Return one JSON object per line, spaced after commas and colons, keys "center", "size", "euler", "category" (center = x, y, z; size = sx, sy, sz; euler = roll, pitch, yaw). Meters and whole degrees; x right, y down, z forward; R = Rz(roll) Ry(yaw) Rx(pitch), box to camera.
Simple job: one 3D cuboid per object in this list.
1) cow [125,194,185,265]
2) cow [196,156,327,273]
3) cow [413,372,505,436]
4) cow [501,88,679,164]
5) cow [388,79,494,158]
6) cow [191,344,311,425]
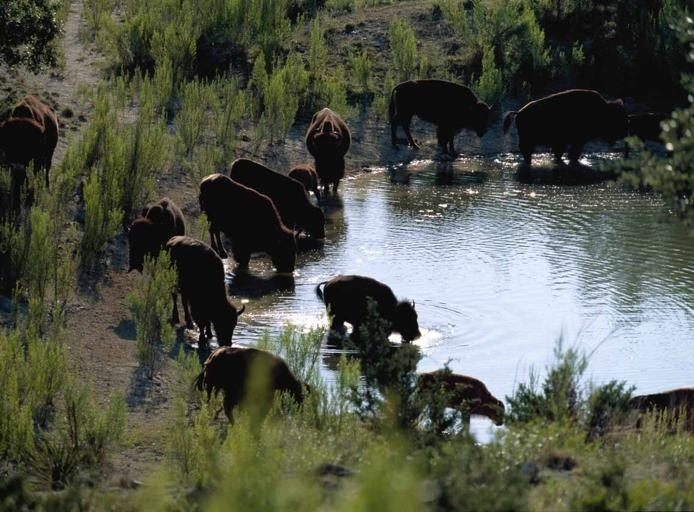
{"center": [-3.343, -0.362, 21.283], "size": [0.540, 1.177, 1.131], "euler": [2, 5, 25], "category": "cow"}
{"center": [-1.655, -0.816, 23.824], "size": [2.388, 2.073, 2.100], "euler": [-1, 5, -2], "category": "cow"}
{"center": [1.803, 2.122, 18.575], "size": [1.349, 1.015, 1.202], "euler": [-3, 6, -28], "category": "cow"}
{"center": [6.230, -3.390, 32.233], "size": [3.429, 1.936, 1.484], "euler": [1, 5, 9], "category": "cow"}
{"center": [2.441, -3.651, 32.469], "size": [2.559, 2.008, 0.811], "euler": [0, 4, 1], "category": "cow"}
{"center": [-1.524, 1.854, 18.254], "size": [2.102, 1.405, 0.752], "euler": [10, -1, -6], "category": "cow"}
